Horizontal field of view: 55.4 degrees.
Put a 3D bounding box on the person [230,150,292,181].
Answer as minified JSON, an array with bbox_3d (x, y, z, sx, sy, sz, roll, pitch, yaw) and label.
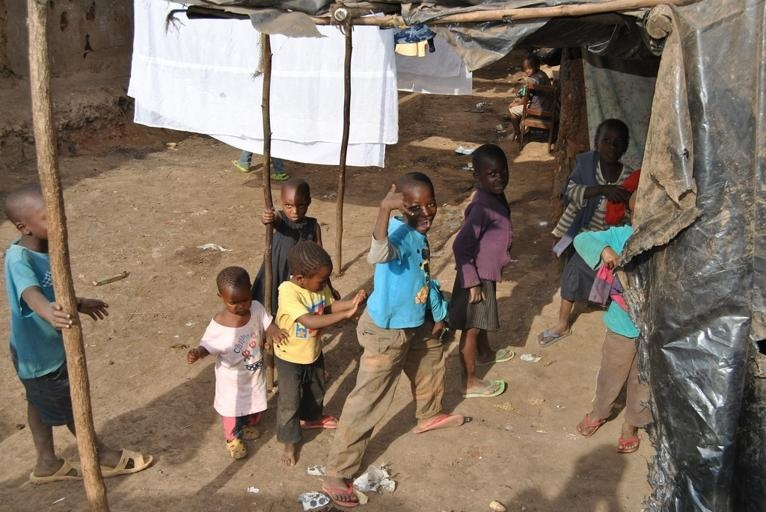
[{"bbox_3d":[-1.878,-1.417,11.216,0.545,0.403,1.090,-12,19,-38],"label":"person"}]

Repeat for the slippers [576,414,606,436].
[{"bbox_3d":[1.624,1.321,5.667,0.238,0.120,0.062,-28,-10,21],"label":"slippers"}]

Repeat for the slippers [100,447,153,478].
[{"bbox_3d":[-1.895,1.534,5.393,0.385,0.100,0.156,0,33,-9],"label":"slippers"}]

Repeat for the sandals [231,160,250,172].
[{"bbox_3d":[-2.243,-1.395,11.328,0.310,0.131,0.113,30,6,12],"label":"sandals"}]

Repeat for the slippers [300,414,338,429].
[{"bbox_3d":[-0.528,1.315,5.842,0.269,0.070,0.114,-3,4,-2],"label":"slippers"}]

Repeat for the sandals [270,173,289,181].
[{"bbox_3d":[-1.579,-1.193,10.963,0.140,0.138,0.334,-17,-7,38],"label":"sandals"}]

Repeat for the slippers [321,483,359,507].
[{"bbox_3d":[-0.313,1.690,5.204,0.250,0.081,0.136,20,26,20],"label":"slippers"}]

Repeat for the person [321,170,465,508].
[{"bbox_3d":[0.074,0.573,5.256,0.448,2.296,1.172,15,22,39],"label":"person"}]

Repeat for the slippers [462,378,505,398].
[{"bbox_3d":[0.854,1.118,6.140,0.296,0.062,0.150,-6,22,10],"label":"slippers"}]

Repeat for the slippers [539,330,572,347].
[{"bbox_3d":[1.581,0.762,6.737,0.236,0.063,0.125,-10,35,6],"label":"slippers"}]

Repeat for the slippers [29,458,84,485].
[{"bbox_3d":[-2.410,1.580,5.349,0.372,0.105,0.163,0,0,-13],"label":"slippers"}]
